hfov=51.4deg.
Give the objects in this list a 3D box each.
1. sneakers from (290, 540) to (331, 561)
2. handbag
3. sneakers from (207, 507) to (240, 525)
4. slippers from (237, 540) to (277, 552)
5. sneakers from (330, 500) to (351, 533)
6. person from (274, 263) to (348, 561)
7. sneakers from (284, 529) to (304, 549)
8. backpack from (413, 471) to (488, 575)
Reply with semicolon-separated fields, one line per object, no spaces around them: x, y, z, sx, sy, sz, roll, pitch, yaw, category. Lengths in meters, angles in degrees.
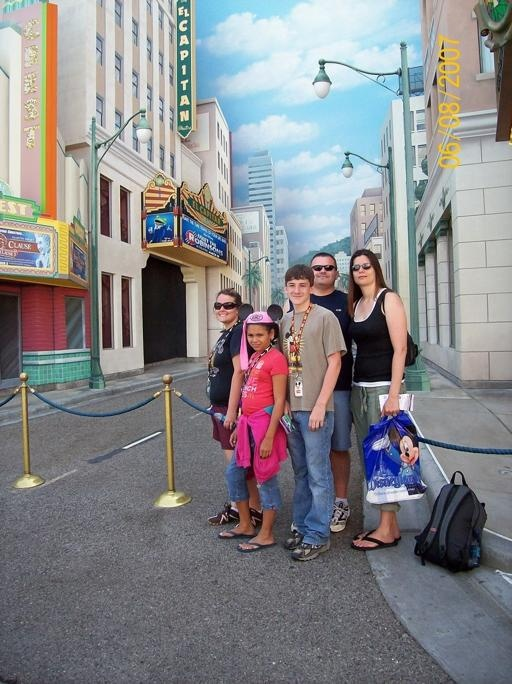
0.377;1.404;3.661;0.263;0.136;0.105;-1;3;-21;sneakers
0.941;0.780;3.652;0.386;0.609;0.141;-1;1;-4;handbag
-0.249;1.408;4.359;0.279;0.147;0.107;3;1;-26;sneakers
-0.008;1.432;3.775;0.191;0.051;0.080;6;-9;-26;slippers
0.659;1.365;4.180;0.094;0.132;0.275;-1;2;19;sneakers
0.346;0.461;3.700;0.486;1.999;0.373;0;1;39;person
0.257;1.401;3.751;0.061;0.080;0.192;-2;-14;15;sneakers
1.252;1.143;3.435;0.276;0.580;0.363;13;-4;-38;backpack
